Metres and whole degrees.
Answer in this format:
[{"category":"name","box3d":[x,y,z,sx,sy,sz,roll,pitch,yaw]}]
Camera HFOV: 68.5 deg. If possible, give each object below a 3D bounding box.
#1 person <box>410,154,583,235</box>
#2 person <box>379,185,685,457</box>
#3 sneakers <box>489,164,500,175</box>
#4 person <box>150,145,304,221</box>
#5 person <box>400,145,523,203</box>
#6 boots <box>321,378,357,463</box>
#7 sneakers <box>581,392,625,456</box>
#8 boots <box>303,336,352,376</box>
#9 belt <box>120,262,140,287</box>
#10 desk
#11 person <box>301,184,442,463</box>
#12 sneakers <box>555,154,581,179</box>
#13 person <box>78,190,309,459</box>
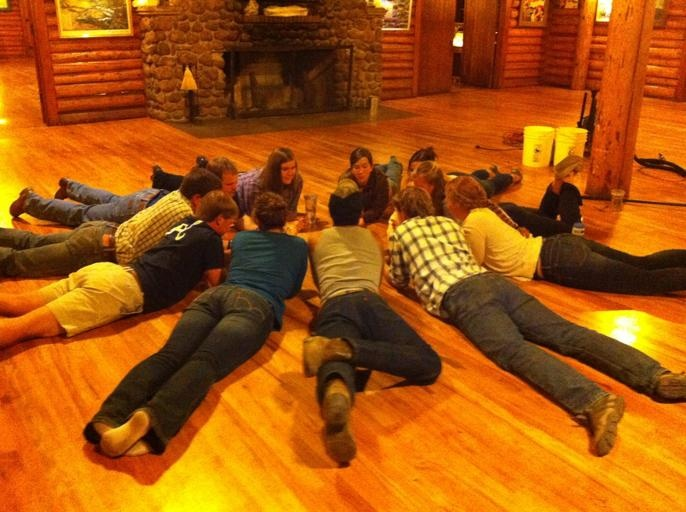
[{"category":"person","box3d":[1.373,-0.515,4.516,1.708,0.768,1.173,0,8,-9]},{"category":"person","box3d":[1.039,0.184,3.426,0.838,0.849,2.265,-16,27,-37]},{"category":"sneakers","box3d":[1.836,-1.059,6.125,0.132,0.124,0.130,7,44,1]},{"category":"person","box3d":[-1.067,-0.757,4.991,1.693,0.736,0.962,22,16,38]},{"category":"person","box3d":[1.404,-0.975,5.554,1.310,0.549,0.707,2,31,-1]},{"category":"boots","box3d":[-0.019,0.810,2.477,0.147,0.393,0.176,-7,-17,4]},{"category":"sneakers","box3d":[1.322,0.850,2.573,0.187,0.291,0.125,-7,-29,41]},{"category":"boots","box3d":[-0.083,0.525,2.681,0.261,0.184,0.130,-3,23,-8]},{"category":"belt","box3d":[-1.377,0.123,3.315,0.051,0.125,0.097,-39,4,-9]},{"category":"desk","box3d":[-1.056,-3.351,9.592,2.526,1.109,0.601,-11,23,-28]},{"category":"person","box3d":[0.115,0.285,3.019,0.666,0.605,1.691,0,38,-5]},{"category":"sneakers","box3d":[2.060,-0.792,4.505,0.288,0.101,0.217,-28,28,-15]},{"category":"person","box3d":[-0.741,0.308,3.025,0.619,0.713,1.842,13,38,21]}]
